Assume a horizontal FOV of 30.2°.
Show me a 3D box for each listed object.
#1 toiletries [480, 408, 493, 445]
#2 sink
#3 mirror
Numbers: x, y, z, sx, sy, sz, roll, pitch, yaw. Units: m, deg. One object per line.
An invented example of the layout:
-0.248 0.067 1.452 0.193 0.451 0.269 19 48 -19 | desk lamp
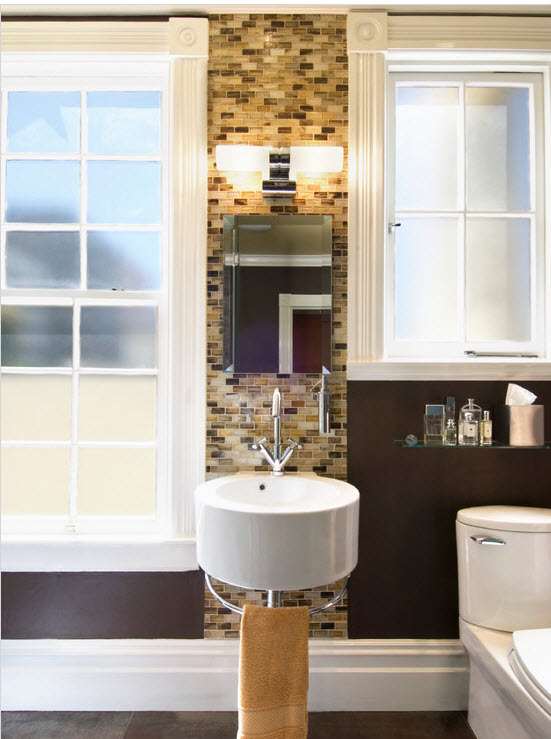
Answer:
0.718 0.192 3.500 0.041 0.098 0.213 0 3 12 | toiletries
0.001 0.519 3.310 0.522 0.310 0.407 -1 3 2 | sink
-0.002 -0.273 3.602 0.405 0.758 0.036 0 -1 -4 | mirror
